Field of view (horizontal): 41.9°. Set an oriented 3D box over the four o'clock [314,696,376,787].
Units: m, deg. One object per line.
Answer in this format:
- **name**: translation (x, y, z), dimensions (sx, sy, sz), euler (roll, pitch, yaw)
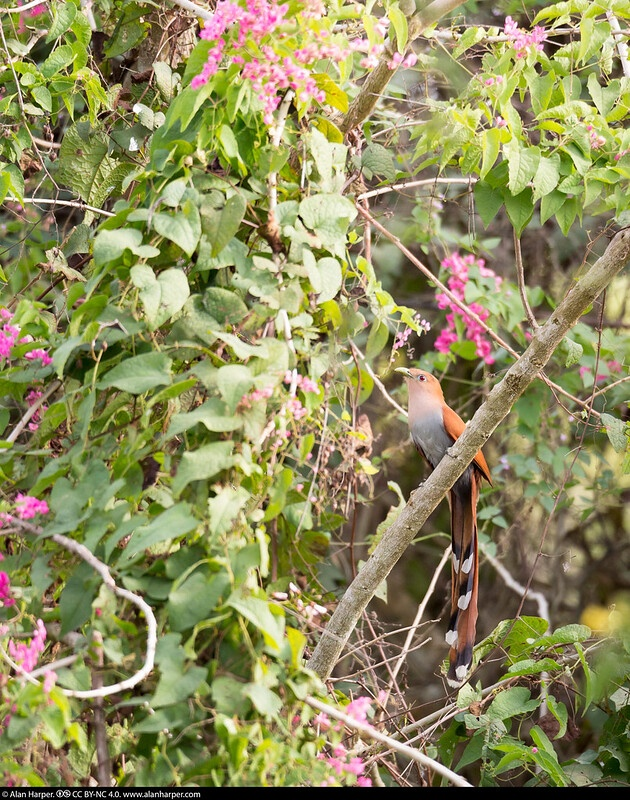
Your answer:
- **four o'clock**: translation (0.046, 0.541, 1.256), dimensions (0.064, 0.194, 0.099), euler (-1, -5, -8)
